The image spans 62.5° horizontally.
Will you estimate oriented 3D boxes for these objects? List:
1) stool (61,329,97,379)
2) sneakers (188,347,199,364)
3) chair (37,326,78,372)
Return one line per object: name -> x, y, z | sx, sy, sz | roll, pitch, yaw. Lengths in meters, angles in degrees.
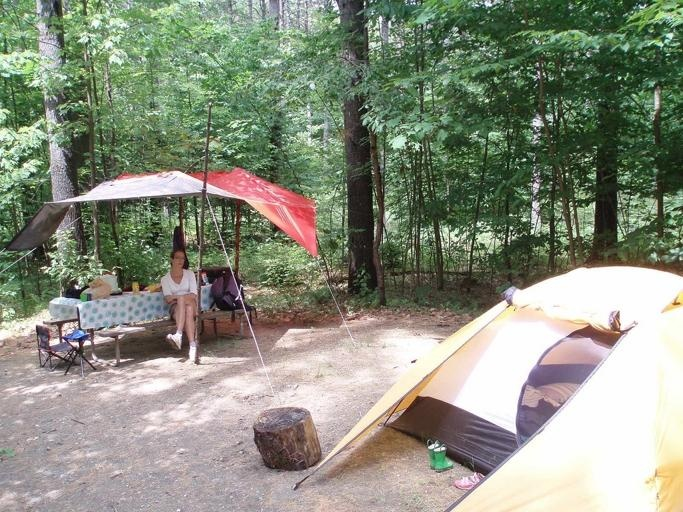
stool -> -3.822, 1.402, 8.159 | 0.569, 0.515, 0.504 | -16, 8, -15
sneakers -> -2.156, 1.415, 8.167 | 0.115, 0.237, 0.285 | -8, 7, -24
chair -> -4.168, 1.313, 8.269 | 0.463, 0.549, 0.455 | 2, 3, 42
